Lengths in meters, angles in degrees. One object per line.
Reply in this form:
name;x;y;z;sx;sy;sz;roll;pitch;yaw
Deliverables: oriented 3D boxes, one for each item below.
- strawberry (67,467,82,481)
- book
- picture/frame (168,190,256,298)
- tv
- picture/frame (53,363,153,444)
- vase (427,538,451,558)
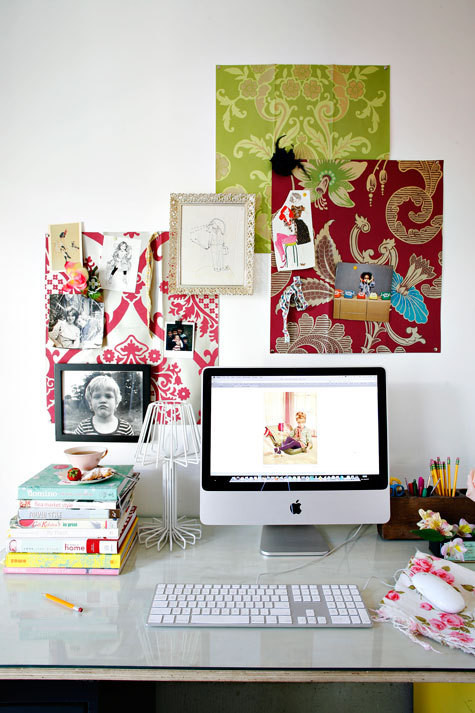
strawberry;-0.347;0.250;1.247;0.025;0.025;0.026;0;45;-15
book;-0.348;0.333;1.225;0.186;0.129;0.262;-1;26;-1
picture/frame;-0.062;-0.280;1.435;0.236;0.280;0.022;1;4;1
tv;0.127;0.220;1.284;0.365;0.368;0.123;0;-8;1
picture/frame;-0.333;0.111;1.463;0.189;0.166;0.015;1;-1;-1
vase;0.432;0.409;1.252;0.033;0.047;0.063;1;-4;0
